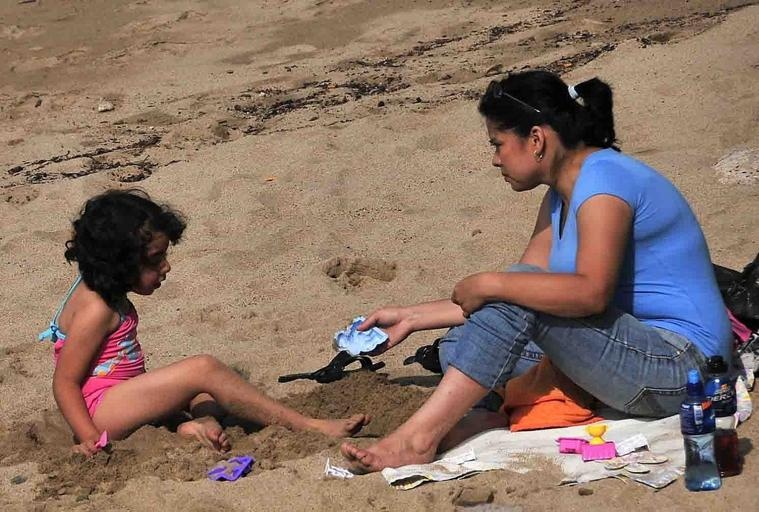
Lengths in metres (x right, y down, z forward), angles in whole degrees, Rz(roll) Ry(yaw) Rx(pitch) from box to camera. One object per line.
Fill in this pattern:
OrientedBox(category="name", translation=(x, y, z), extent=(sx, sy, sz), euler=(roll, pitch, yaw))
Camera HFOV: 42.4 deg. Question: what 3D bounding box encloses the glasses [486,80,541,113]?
OrientedBox(category="glasses", translation=(0.763, -0.900, 5.604), extent=(0.246, 0.065, 0.221), euler=(19, -3, -7))
